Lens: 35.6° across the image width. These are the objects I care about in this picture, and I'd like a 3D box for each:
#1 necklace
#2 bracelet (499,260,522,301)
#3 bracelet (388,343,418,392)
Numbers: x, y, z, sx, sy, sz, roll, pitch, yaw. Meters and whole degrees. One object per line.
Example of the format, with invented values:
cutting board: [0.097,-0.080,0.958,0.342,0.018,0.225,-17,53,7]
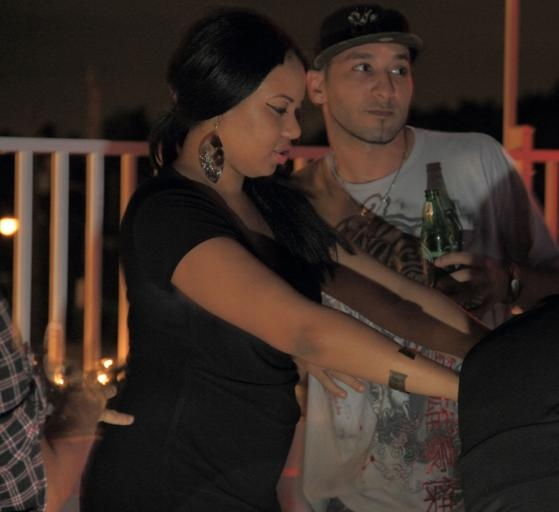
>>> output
necklace: [0.384,-0.363,3.636,0.274,0.423,0.096,-4,3,6]
bracelet: [0.899,0.104,3.386,0.042,0.130,0.087,-3,4,11]
bracelet: [0.305,0.279,2.161,0.041,0.105,0.104,15,5,23]
